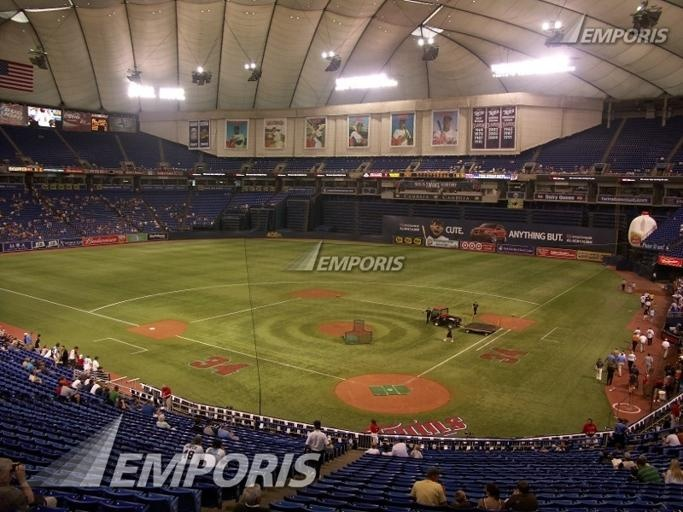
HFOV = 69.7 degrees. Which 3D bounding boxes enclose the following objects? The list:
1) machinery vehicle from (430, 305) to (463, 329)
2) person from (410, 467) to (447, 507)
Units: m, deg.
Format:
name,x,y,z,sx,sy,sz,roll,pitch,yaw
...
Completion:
name,x,y,z,sx,sy,sz,roll,pitch,yaw
machinery vehicle,7.710,4.570,37.098,2.560,1.080,1.521,2,4,26
person,1.892,5.032,10.638,0.735,0.703,0.620,1,2,10
